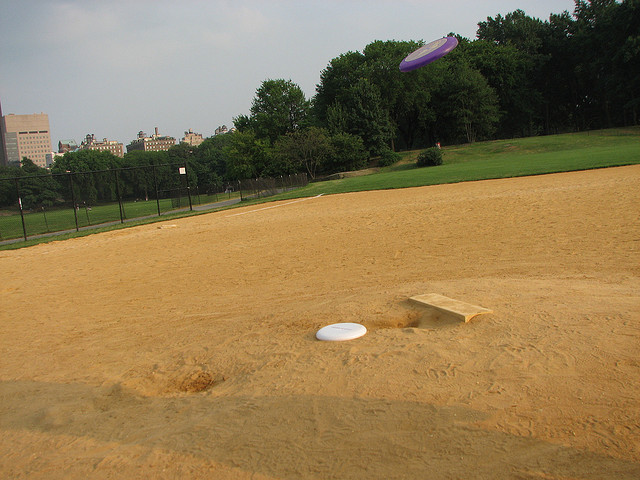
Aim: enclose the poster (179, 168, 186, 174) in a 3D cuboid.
[{"bbox_3d":[-8.824,-4.353,30.178,0.408,0.342,0.093,3,11,17],"label":"poster"}]
